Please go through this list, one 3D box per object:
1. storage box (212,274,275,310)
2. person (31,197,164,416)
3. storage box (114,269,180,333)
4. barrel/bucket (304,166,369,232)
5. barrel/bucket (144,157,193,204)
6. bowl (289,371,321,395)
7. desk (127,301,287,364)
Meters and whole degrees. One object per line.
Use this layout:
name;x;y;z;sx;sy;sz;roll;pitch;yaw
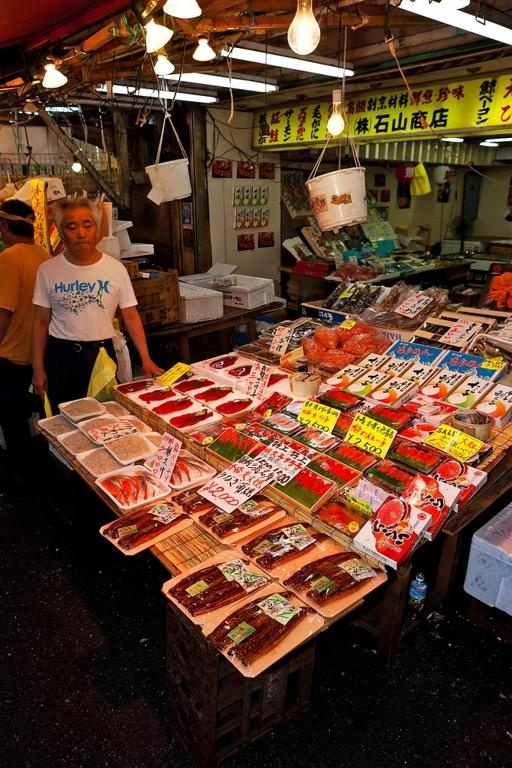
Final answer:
storage box;-0.055;-1.083;6.066;0.650;0.252;0.480;16;32;37
person;-1.143;-0.190;3.787;0.884;2.094;0.549;2;36;-14
storage box;-1.065;-0.883;5.231;0.564;0.536;0.563;-11;24;-24
barrel/bucket;0.482;-1.131;3.234;0.293;0.373;0.311;-1;23;0
barrel/bucket;-0.663;-1.555;4.029;0.222;0.315;0.443;12;26;28
bowl;0.287;0.000;3.060;0.133;0.085;0.139;-1;15;0
desk;-0.649;-0.710;5.835;0.974;0.579;0.959;-23;36;-26
